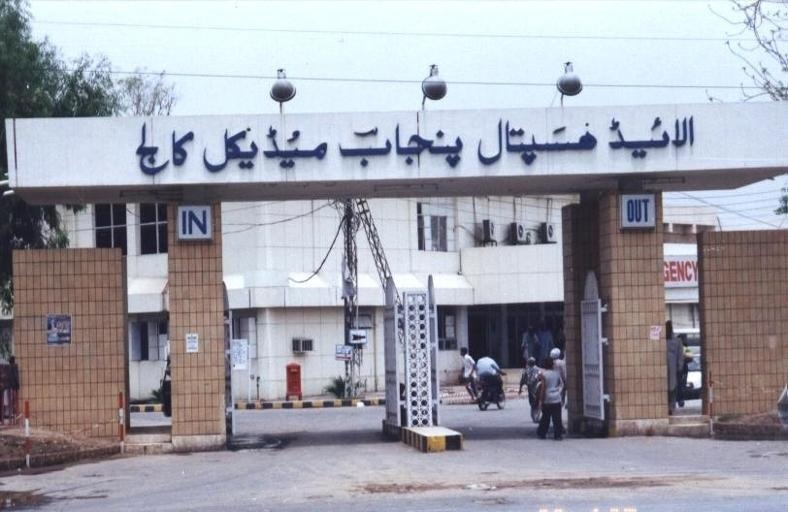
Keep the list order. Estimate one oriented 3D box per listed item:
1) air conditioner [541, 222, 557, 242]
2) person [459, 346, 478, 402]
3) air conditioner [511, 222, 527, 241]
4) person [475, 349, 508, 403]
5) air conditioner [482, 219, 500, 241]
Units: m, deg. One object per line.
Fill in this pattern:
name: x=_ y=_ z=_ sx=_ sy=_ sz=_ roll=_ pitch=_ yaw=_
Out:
air conditioner: x=6.242 y=-0.977 z=74.574 sx=0.401 sy=0.939 sz=0.894 roll=-6 pitch=-10 yaw=26
person: x=2.492 y=4.009 z=62.218 sx=0.658 sy=2.199 sz=0.722 roll=7 pitch=-30 yaw=-12
air conditioner: x=4.846 y=-0.953 z=72.093 sx=0.208 sy=0.604 sz=0.672 roll=-6 pitch=-9 yaw=26
person: x=3.007 y=3.832 z=57.879 sx=0.796 sy=1.443 sz=1.180 roll=-3 pitch=-9 yaw=2
air conditioner: x=3.693 y=-1.015 z=70.965 sx=0.272 sy=0.741 sz=0.800 roll=-2 pitch=-5 yaw=11
